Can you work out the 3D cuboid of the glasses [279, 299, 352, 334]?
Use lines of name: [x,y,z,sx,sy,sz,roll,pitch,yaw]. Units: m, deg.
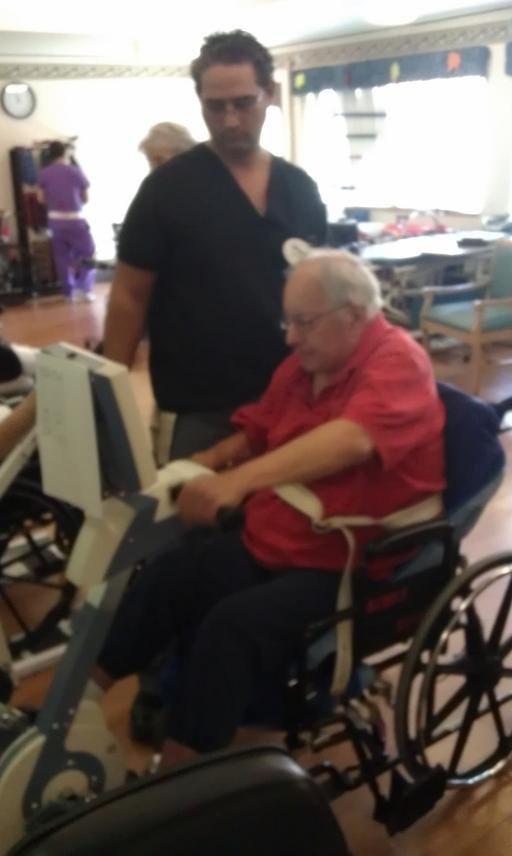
glasses: [0.069,-0.121,0.724,0.065,0.029,0.020,-3,27,-5]
